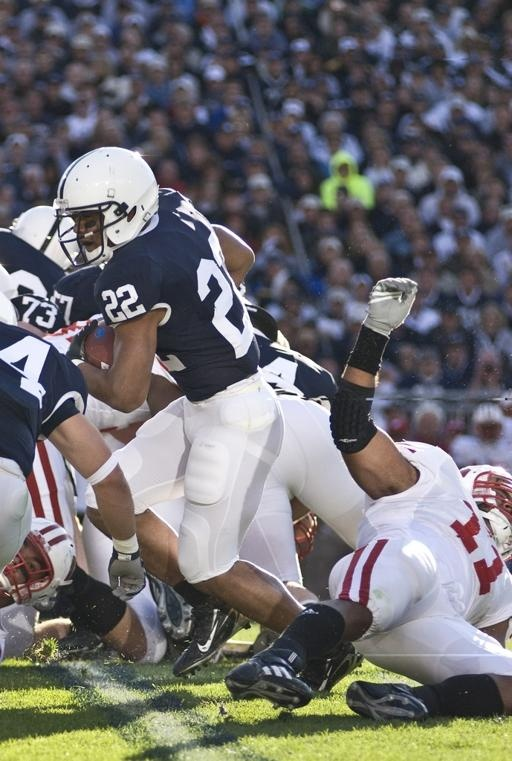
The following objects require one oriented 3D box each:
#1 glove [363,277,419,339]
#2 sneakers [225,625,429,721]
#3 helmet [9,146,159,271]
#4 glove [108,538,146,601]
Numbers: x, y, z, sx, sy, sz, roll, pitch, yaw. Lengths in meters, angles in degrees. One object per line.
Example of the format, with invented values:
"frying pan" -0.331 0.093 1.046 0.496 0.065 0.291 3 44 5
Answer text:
"glove" 0.335 -0.193 2.219 0.099 0.110 0.168 30 45 21
"sneakers" 0.175 0.670 2.014 0.522 0.149 0.223 16 38 -16
"helmet" -0.450 -0.528 2.654 0.406 0.353 0.320 -24 10 -1
"glove" -0.356 0.528 2.441 0.096 0.362 0.050 1 44 -10
